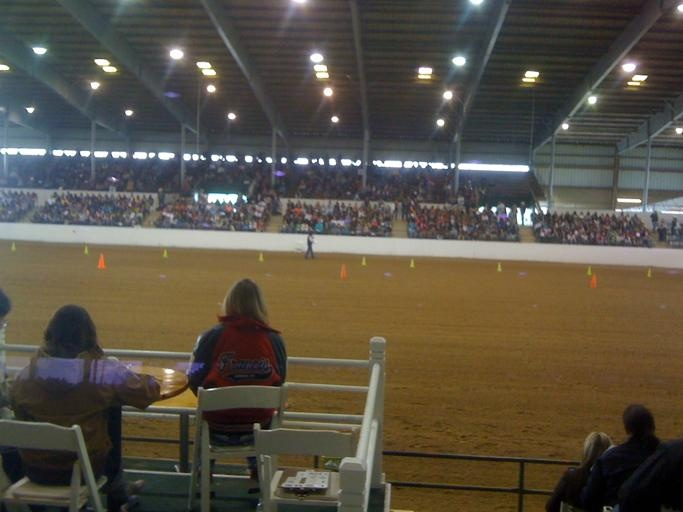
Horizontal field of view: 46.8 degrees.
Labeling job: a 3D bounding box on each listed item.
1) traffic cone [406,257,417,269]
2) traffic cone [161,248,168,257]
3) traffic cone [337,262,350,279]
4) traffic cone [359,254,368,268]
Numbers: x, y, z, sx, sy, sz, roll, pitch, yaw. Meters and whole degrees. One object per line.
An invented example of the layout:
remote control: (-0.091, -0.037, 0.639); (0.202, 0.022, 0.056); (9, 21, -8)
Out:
traffic cone: (2.949, 0.364, 33.091); (0.322, 0.675, 0.324); (-3, 21, -1)
traffic cone: (-7.470, -0.135, 33.299); (0.276, 0.553, 0.214); (6, -8, -41)
traffic cone: (0.116, 0.630, 30.329); (0.376, 0.611, 0.406); (3, -12, -23)
traffic cone: (0.925, 0.296, 33.221); (0.262, 0.328, 0.558); (1, 27, 0)
